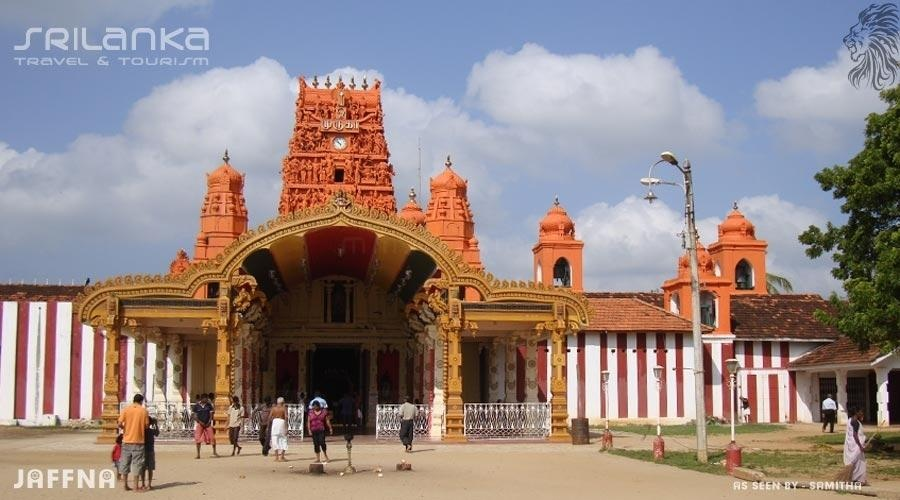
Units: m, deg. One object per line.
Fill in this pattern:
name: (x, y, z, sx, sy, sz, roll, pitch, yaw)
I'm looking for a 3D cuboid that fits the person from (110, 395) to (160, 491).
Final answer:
person: (-12.392, 7.486, 49.442, 1.211, 3.722, 1.321, 3, -14, -23)
